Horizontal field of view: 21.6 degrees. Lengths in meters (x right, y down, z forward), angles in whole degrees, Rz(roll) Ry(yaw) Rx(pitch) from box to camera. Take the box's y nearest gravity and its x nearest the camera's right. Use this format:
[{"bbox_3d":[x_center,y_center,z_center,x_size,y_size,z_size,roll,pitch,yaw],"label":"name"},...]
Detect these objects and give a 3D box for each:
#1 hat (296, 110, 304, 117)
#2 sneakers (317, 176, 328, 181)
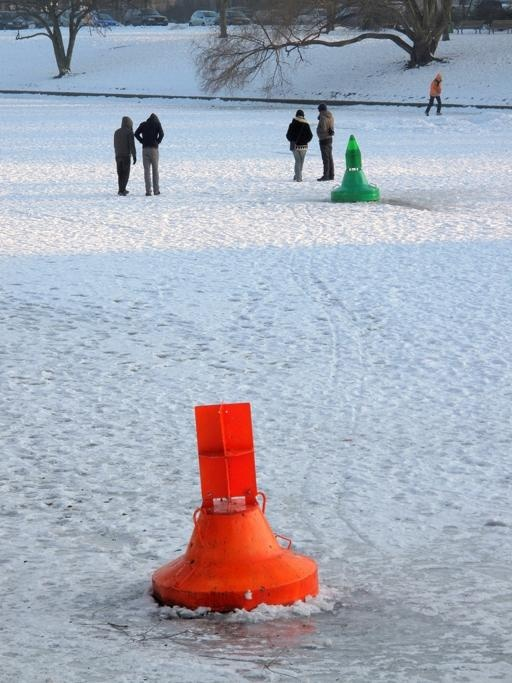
[{"bbox_3d":[0.615,-3.112,18.563,0.116,0.131,0.129,2,-2,1],"label":"hat"},{"bbox_3d":[0.945,-2.251,18.840,0.127,0.093,0.065,13,15,39],"label":"sneakers"}]
